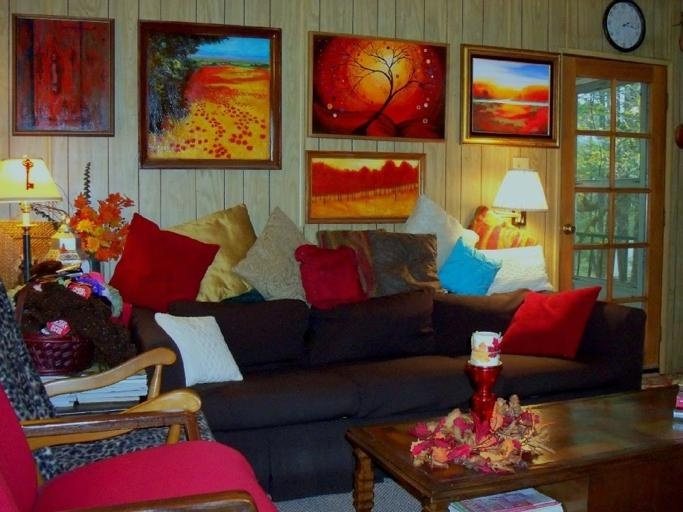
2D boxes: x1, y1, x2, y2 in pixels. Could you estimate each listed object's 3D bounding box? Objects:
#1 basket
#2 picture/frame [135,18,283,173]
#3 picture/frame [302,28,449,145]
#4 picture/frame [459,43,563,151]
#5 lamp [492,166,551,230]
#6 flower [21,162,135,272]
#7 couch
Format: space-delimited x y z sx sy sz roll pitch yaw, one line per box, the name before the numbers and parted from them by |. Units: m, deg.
basket | -1.238 0.330 2.557 0.325 0.311 0.236 7 15 -18
picture/frame | -0.876 -1.006 3.768 1.032 0.994 0.075 0 2 -20
picture/frame | 0.252 -1.111 4.092 0.985 0.660 0.015 -4 22 -21
picture/frame | 1.195 -1.154 4.378 0.835 0.689 0.065 -1 5 -15
lamp | 1.258 -0.413 4.231 0.411 0.391 0.408 8 14 28
flower | -1.488 -0.186 3.530 0.388 0.601 0.609 0 11 8
couch | 0.288 0.694 3.354 2.592 0.928 0.883 -2 2 -18
